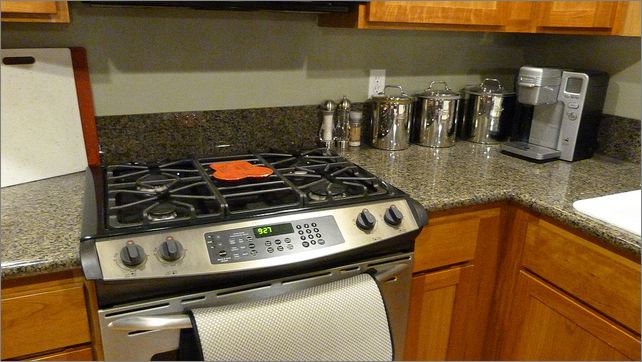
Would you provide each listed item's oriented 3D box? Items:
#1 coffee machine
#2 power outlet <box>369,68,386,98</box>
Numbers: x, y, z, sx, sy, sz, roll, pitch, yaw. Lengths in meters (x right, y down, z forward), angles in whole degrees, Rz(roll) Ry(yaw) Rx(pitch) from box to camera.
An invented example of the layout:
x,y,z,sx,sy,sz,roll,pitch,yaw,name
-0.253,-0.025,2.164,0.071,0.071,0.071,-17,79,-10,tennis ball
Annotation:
x,y,z,sx,sy,sz,roll,pitch,yaw,name
1.278,-0.377,2.369,0.445,0.430,0.459,-3,14,-22,coffee machine
0.329,-0.565,2.462,0.106,0.159,0.012,13,22,36,power outlet
